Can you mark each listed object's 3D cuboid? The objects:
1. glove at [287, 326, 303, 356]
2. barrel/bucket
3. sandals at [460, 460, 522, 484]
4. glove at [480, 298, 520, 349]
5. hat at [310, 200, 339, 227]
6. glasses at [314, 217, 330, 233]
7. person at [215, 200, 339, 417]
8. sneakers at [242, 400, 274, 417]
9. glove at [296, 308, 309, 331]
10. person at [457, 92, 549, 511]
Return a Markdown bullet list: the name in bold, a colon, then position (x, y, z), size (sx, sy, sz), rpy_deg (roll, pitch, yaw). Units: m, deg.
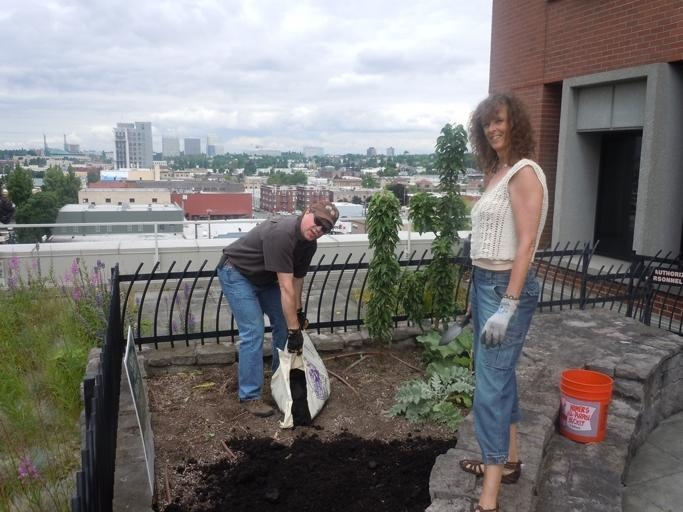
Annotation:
- **glove**: position (-0.414, 0.745, 4.315), size (0.144, 0.214, 0.080), rpy_deg (8, 11, 34)
- **barrel/bucket**: position (1.877, 1.153, 3.789), size (0.389, 0.427, 0.378), rpy_deg (2, 4, 0)
- **sandals**: position (0.959, 1.359, 3.201), size (0.393, 0.152, 0.163), rpy_deg (6, -16, 28)
- **glove**: position (0.881, 0.366, 2.727), size (0.176, 0.284, 0.101), rpy_deg (23, -15, 22)
- **hat**: position (-0.149, -0.365, 4.211), size (0.241, 0.238, 0.211), rpy_deg (1, 14, -4)
- **glasses**: position (-0.166, -0.251, 4.182), size (0.127, 0.038, 0.125), rpy_deg (35, 15, -38)
- **person**: position (-0.604, 0.428, 4.490), size (1.003, 1.927, 0.675), rpy_deg (-3, 15, -16)
- **sneakers**: position (-0.752, 1.369, 4.452), size (0.241, 0.102, 0.129), rpy_deg (0, 0, 32)
- **glove**: position (-0.375, 0.629, 4.695), size (0.076, 0.164, 0.233), rpy_deg (-7, -23, -7)
- **person**: position (0.973, 0.245, 2.991), size (0.487, 2.389, 0.958), rpy_deg (4, 14, 10)
